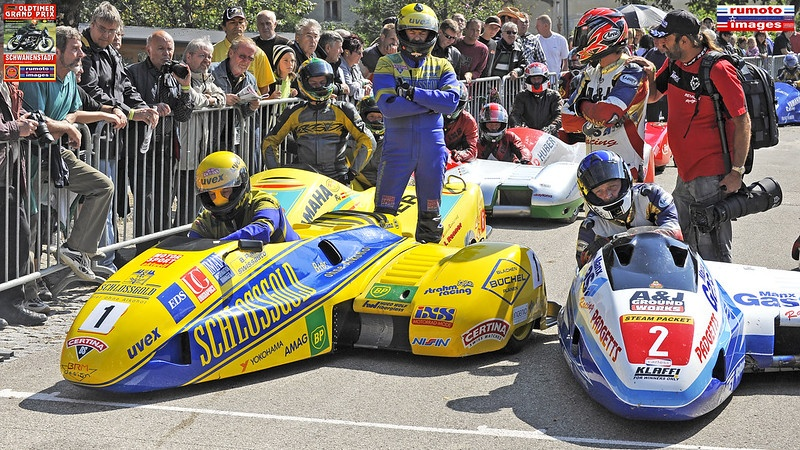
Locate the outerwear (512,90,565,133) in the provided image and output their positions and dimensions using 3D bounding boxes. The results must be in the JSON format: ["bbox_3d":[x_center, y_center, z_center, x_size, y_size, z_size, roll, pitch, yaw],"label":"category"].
[{"bbox_3d":[2.587,-2.124,15.952,0.968,0.828,1.188,2,22,11],"label":"outerwear"}]

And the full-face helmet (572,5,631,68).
[{"bbox_3d":[2.485,-2.314,10.106,0.675,0.645,0.559,2,4,24],"label":"full-face helmet"}]

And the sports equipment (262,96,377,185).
[{"bbox_3d":[-1.098,-1.293,11.928,1.986,1.432,1.055,0,11,0],"label":"sports equipment"}]

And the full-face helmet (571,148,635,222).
[{"bbox_3d":[2.142,-0.454,8.843,0.537,0.690,0.709,-19,19,8],"label":"full-face helmet"}]

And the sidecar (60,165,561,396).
[{"bbox_3d":[-1.059,0.774,8.539,2.914,0.906,3.168,8,12,43],"label":"sidecar"}]

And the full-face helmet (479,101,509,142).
[{"bbox_3d":[1.517,-1.823,14.395,0.511,0.622,0.637,0,15,-1],"label":"full-face helmet"}]

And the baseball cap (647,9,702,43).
[{"bbox_3d":[3.082,-2.321,9.436,0.570,0.280,0.359,4,28,9],"label":"baseball cap"}]

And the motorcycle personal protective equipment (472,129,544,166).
[{"bbox_3d":[1.841,-1.327,14.642,1.142,0.427,0.615,-1,-5,3],"label":"motorcycle personal protective equipment"}]

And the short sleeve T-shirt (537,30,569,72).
[{"bbox_3d":[3.495,-4.074,19.580,0.847,1.017,0.359,4,40,20],"label":"short sleeve T-shirt"}]

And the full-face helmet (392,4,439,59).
[{"bbox_3d":[0.188,-2.438,10.319,0.513,0.584,0.636,0,30,-4],"label":"full-face helmet"}]

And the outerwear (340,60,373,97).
[{"bbox_3d":[-0.716,-2.486,14.098,0.590,0.771,0.319,3,4,44],"label":"outerwear"}]

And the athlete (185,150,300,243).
[{"bbox_3d":[-1.766,-0.216,8.805,0.760,0.748,1.309,-23,-3,15],"label":"athlete"}]

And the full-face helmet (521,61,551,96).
[{"bbox_3d":[2.599,-2.846,15.930,0.483,0.572,0.592,-6,12,-1],"label":"full-face helmet"}]

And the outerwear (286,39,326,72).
[{"bbox_3d":[-1.627,-2.885,14.047,0.545,0.425,0.695,-10,-1,-31],"label":"outerwear"}]

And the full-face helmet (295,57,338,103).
[{"bbox_3d":[-1.136,-2.026,11.368,0.474,0.497,0.586,-8,29,-19],"label":"full-face helmet"}]

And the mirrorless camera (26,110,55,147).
[{"bbox_3d":[-4.015,-1.122,9.440,0.170,0.384,0.239,-22,-2,35],"label":"mirrorless camera"}]

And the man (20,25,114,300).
[{"bbox_3d":[-4.093,-0.822,9.940,1.034,2.870,1.307,-9,-3,34],"label":"man"}]

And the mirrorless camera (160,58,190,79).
[{"bbox_3d":[-2.959,-2.095,11.030,0.281,0.106,0.287,21,-2,45],"label":"mirrorless camera"}]
